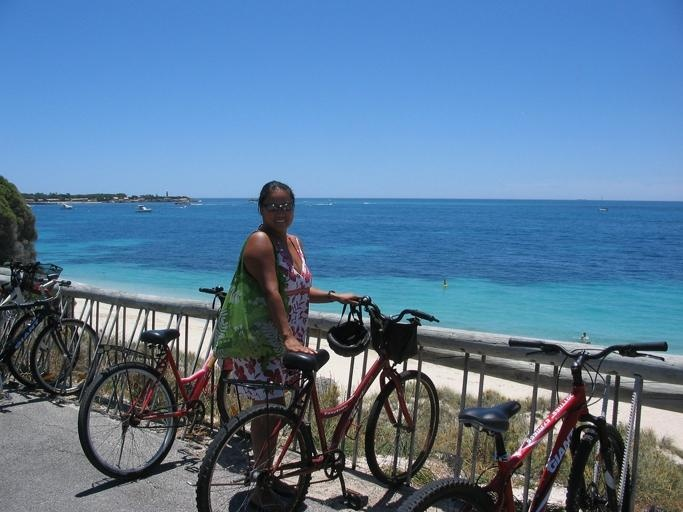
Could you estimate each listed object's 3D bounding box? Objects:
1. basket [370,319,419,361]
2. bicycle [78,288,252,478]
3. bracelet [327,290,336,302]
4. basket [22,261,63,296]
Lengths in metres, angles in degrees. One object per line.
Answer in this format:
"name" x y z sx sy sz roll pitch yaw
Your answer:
"basket" 0.425 0.635 4.249 0.379 0.363 0.318 10 21 32
"bicycle" -1.737 1.215 5.274 1.061 1.439 2.191 3 6 28
"bracelet" -0.086 0.344 4.419 0.068 0.108 0.094 2 15 5
"basket" -3.838 0.269 6.606 0.462 0.345 0.610 -1 -3 -31
